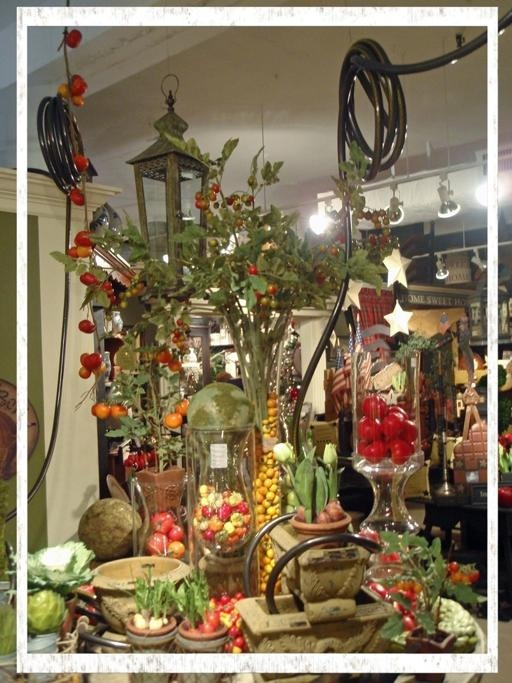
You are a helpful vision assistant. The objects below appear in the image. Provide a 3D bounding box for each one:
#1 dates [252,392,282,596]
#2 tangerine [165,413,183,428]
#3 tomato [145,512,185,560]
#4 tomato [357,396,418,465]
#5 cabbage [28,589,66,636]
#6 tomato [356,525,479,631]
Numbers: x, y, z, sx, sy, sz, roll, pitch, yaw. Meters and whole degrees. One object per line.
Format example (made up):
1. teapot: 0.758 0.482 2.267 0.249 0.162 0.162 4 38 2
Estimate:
1. dates: 0.004 0.310 1.048 0.052 0.273 0.087 0 3 -9
2. tangerine: -0.188 0.186 1.250 0.040 0.041 0.041 -5 -15 -11
3. tomato: -0.186 0.401 1.109 0.065 0.086 0.060 6 5 40
4. tomato: 0.231 0.163 1.014 0.105 0.126 0.116 0 3 4
5. cabbage: -0.339 0.444 0.871 0.055 0.079 0.035 0 -6 -29
6. tomato: 0.281 0.387 0.892 0.198 0.176 0.227 -5 -6 9
